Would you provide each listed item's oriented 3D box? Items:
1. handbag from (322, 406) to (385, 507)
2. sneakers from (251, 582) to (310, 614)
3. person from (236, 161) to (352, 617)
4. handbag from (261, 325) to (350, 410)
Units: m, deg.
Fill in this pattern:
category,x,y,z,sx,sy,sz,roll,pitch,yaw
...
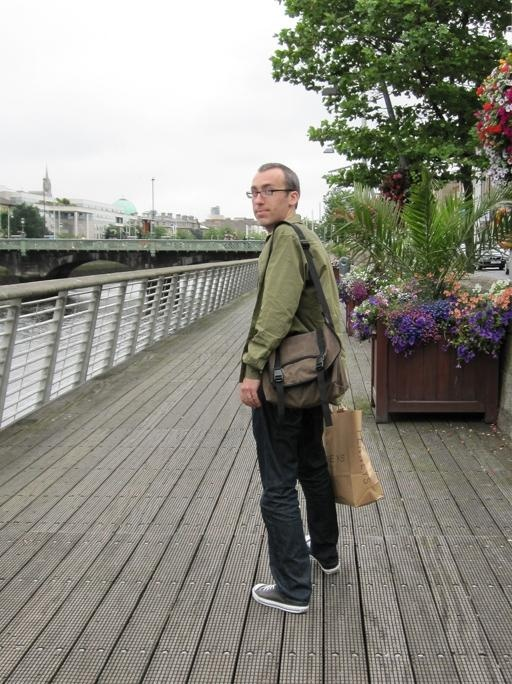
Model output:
category,x,y,z,sx,sy,sz,roll,pitch,yaw
handbag,0.366,0.414,1.781,0.164,0.400,0.243,-13,8,-32
sneakers,0.090,0.863,1.555,0.084,0.074,0.208,-4,11,-44
person,0.151,0.131,1.599,0.366,1.549,0.591,0,-3,11
handbag,0.177,0.049,1.469,0.287,0.286,0.176,-9,-10,24
